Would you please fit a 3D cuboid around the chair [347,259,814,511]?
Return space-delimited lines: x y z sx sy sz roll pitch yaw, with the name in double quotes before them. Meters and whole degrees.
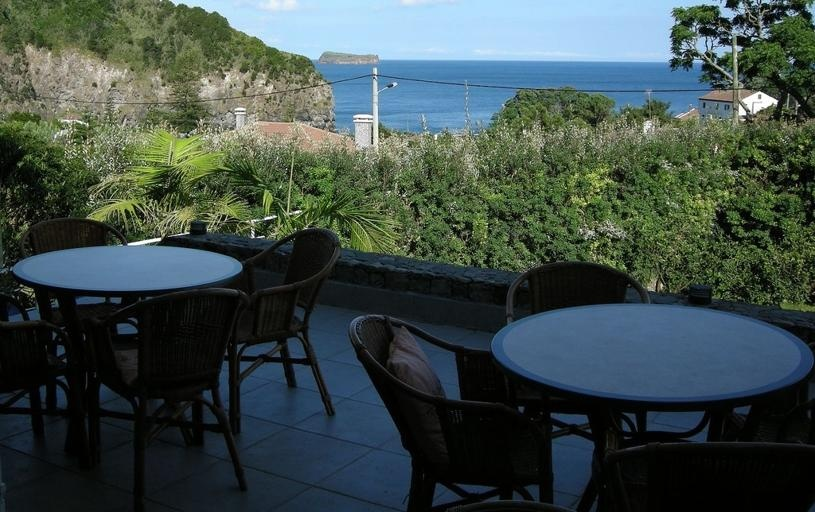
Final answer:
"chair" 0.652 0.594 3.729 1.344 0.958 1.821 8 13 23

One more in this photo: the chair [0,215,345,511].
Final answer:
"chair" -1.319 0.570 4.196 1.685 1.111 1.526 0 6 -29

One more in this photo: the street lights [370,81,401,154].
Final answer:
"street lights" -0.607 -3.992 21.372 1.001 2.901 0.391 8 24 18
